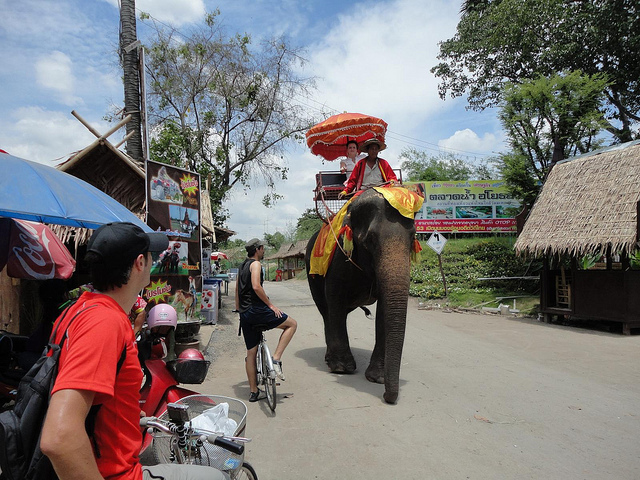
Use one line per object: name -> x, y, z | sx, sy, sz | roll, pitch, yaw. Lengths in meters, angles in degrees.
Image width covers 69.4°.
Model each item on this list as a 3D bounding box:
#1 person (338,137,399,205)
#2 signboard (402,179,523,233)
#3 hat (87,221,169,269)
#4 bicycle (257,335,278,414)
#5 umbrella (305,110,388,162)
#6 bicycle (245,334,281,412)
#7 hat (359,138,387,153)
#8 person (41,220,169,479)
person -> 0.822, -1.002, 8.015 | 1.118, 1.488, 0.781 | -5, 9, -15
signboard -> 9.294, -2.082, 29.342 | 7.098, 3.311, 0.094 | 0, 0, -1
hat -> -1.209, 0.030, 2.948 | 0.278, 0.244, 0.443 | 12, 29, 40
bicycle -> -0.688, 1.790, 6.176 | 0.248, 0.864, 0.733 | 0, 0, -12
umbrella -> 0.538, -2.218, 9.903 | 1.378, 0.779, 1.851 | 1, 0, -32
bicycle -> -0.711, 1.787, 6.239 | 0.262, 0.859, 0.858 | 0, 0, -16
hat -> 0.916, -1.632, 8.007 | 0.423, 0.328, 0.558 | 0, 0, 4
person -> -1.277, 0.675, 2.715 | 0.584, 1.558, 0.504 | 0, 0, -20
